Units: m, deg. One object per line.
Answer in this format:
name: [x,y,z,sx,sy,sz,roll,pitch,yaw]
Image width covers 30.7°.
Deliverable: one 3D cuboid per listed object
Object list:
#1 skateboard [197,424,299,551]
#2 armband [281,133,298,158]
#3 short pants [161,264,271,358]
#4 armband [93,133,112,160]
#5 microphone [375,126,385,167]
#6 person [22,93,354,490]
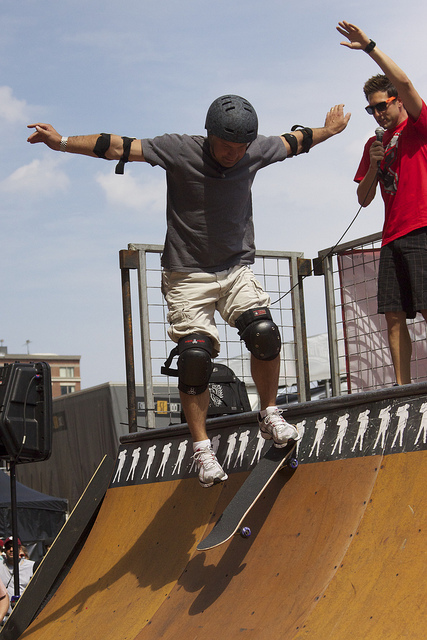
skateboard: [0.286,0.719,3.461,0.839,0.119,0.215,-48,18,-24]
armband: [0.397,-0.898,4.014,0.068,0.109,0.055,-6,1,-9]
short pants: [0.009,-0.121,3.902,0.561,0.498,0.312,-13,1,-11]
armband: [-0.536,-0.827,3.741,0.092,0.120,0.059,-6,1,-10]
microphone: [1.017,-1.051,4.751,0.052,0.214,0.168,-6,1,24]
person: [-0.014,-0.156,3.807,1.267,1.746,0.700,-6,1,5]
